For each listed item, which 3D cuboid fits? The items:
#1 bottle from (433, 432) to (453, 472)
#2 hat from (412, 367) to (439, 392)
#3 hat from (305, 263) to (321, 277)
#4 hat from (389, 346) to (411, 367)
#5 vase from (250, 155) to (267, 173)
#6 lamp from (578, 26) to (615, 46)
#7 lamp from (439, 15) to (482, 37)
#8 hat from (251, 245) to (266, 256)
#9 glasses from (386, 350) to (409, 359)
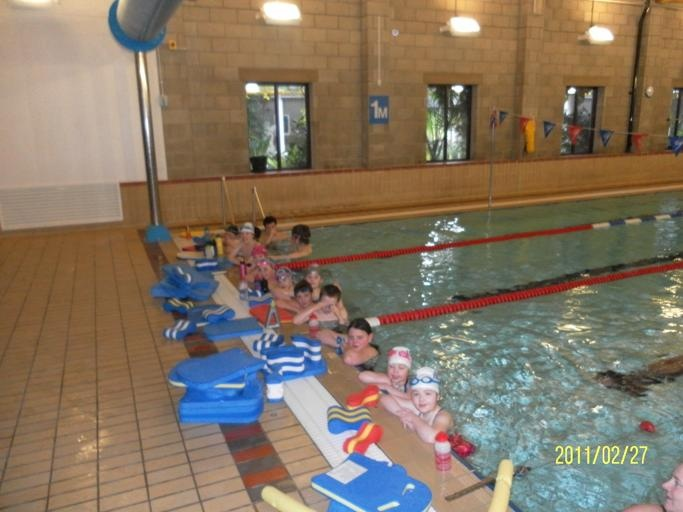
[{"bbox_3d":[0.543,1.027,2.762,0.092,0.193,0.149,-2,16,9],"label":"bottle"},{"bbox_3d":[0.512,0.742,3.136,0.142,0.151,0.063,3,-12,6],"label":"hat"},{"bbox_3d":[-0.273,0.163,4.874,0.106,0.136,0.131,0,45,-1],"label":"hat"},{"bbox_3d":[0.397,0.656,3.464,0.143,0.110,0.145,2,8,1],"label":"hat"},{"bbox_3d":[-1.607,-1.793,10.050,0.329,0.244,0.302,0,12,8],"label":"vase"},{"bbox_3d":[5.939,-5.063,12.043,0.600,0.320,0.647,-2,44,3],"label":"lamp"},{"bbox_3d":[2.525,-4.777,10.613,0.964,0.412,0.475,-12,17,-26],"label":"lamp"},{"bbox_3d":[-0.889,-0.066,5.507,0.124,0.122,0.157,0,-2,6],"label":"hat"},{"bbox_3d":[0.379,0.653,3.441,0.140,0.065,0.114,-1,16,13],"label":"glasses"}]
